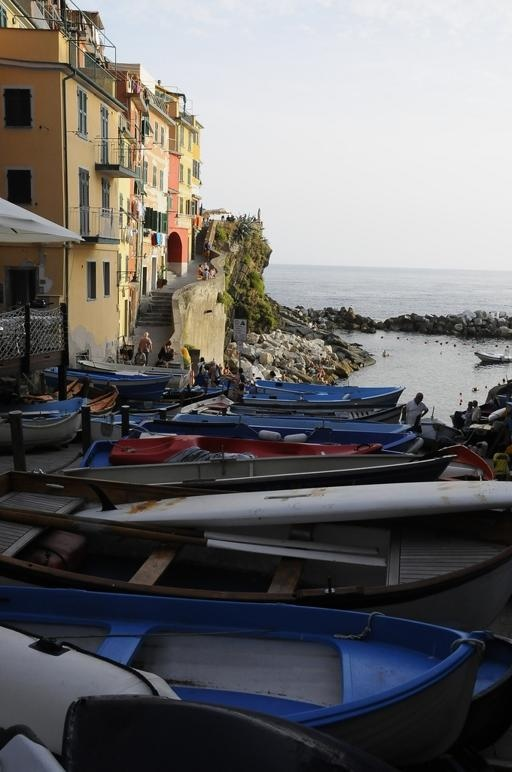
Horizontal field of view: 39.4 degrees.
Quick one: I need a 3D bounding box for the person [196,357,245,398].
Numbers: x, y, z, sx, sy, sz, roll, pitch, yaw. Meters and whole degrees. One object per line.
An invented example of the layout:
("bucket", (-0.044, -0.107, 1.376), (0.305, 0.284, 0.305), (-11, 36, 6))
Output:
("person", (-1.214, -0.162, 23.247), (0.843, 1.060, 2.740), (-3, 6, -16))
